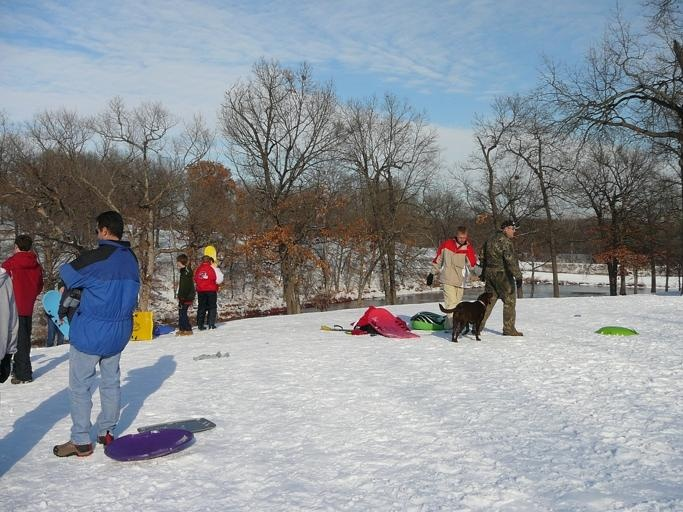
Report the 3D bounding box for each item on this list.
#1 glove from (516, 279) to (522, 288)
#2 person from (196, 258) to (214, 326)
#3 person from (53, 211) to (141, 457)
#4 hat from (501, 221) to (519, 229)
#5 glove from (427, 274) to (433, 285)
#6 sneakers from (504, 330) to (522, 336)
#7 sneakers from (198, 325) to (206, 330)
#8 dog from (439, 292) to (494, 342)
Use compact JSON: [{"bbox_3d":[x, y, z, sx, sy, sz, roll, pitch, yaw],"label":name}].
[{"bbox_3d":[3.587,0.535,13.050,0.104,0.219,0.381,2,9,17],"label":"glove"},{"bbox_3d":[-3.423,0.928,16.332,0.540,1.938,0.848,-4,10,-14],"label":"person"},{"bbox_3d":[-3.013,0.933,7.930,0.544,2.912,1.136,5,11,32],"label":"person"},{"bbox_3d":[3.410,-0.644,13.278,0.198,0.166,0.332,0,9,5],"label":"hat"},{"bbox_3d":[1.958,0.532,14.261,0.139,0.266,0.063,9,13,7],"label":"glove"},{"bbox_3d":[3.629,1.634,13.644,0.353,0.141,0.137,0,-1,-4],"label":"sneakers"},{"bbox_3d":[-3.548,1.818,16.349,0.122,0.118,0.220,4,3,8],"label":"sneakers"},{"bbox_3d":[2.667,1.286,13.394,0.750,1.037,1.000,3,10,26],"label":"dog"}]
